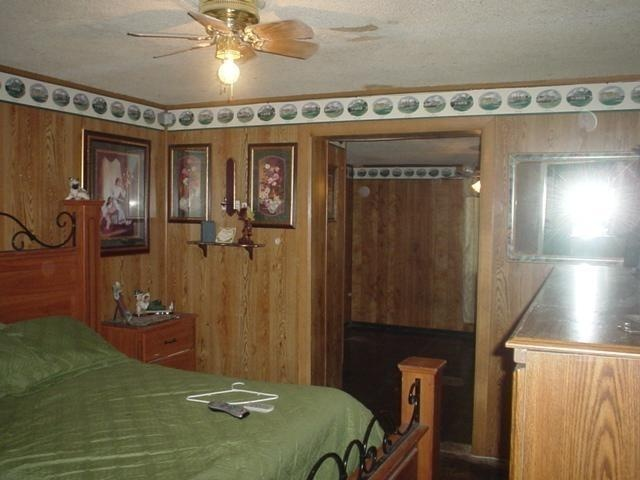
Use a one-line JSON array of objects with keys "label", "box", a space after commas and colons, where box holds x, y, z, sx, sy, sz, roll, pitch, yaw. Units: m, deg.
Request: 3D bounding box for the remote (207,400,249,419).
[{"label": "remote", "box": [-0.531, 1.003, 3.030, 0.165, 0.035, 0.097, 8, 0, 20]}]

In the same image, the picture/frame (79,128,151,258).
[{"label": "picture/frame", "box": [-2.040, -0.465, 5.352, 0.048, 1.078, 0.677, 7, 7, 31]}]
